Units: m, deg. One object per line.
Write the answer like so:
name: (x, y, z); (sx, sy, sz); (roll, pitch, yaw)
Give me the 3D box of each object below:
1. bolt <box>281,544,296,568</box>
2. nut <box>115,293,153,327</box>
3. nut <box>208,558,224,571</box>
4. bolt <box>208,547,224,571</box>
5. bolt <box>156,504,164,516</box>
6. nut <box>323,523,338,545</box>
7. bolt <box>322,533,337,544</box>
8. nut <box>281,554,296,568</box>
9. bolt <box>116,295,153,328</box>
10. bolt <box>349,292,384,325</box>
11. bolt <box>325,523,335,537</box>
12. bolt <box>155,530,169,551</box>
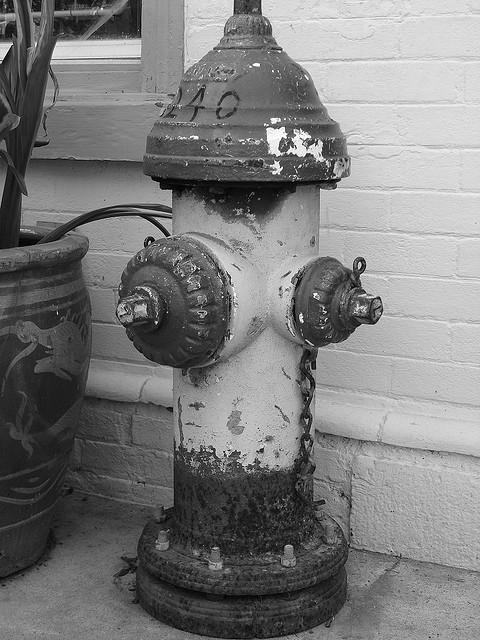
bolt: (0.101, 0.502, 1.622); (0.036, 0.046, 0.038); (2, 5, 3)
nut: (-0.193, -0.021, 1.397); (0.052, 0.065, 0.083); (-4, 11, 10)
nut: (-0.052, 0.508, 1.605); (0.021, 0.021, 0.021); (-1, 1, 36)
bolt: (-0.053, 0.496, 1.612); (0.035, 0.045, 0.039); (1, 0, -25)
bolt: (-0.197, 0.466, 1.899); (0.019, 0.024, 0.020); (-1, 1, 3)
nut: (0.204, 0.489, 1.767); (0.033, 0.041, 0.033); (2, 3, 24)
bolt: (0.205, 0.499, 1.763); (0.019, 0.013, 0.020); (1, -2, -35)
nut: (0.100, 0.508, 1.623); (0.021, 0.015, 0.022); (1, -1, -5)
bolt: (-0.192, -0.020, 1.397); (0.057, 0.052, 0.066); (-9, 29, -22)
bolt: (0.240, -0.024, 1.477); (0.041, 0.061, 0.072); (5, 10, 32)
bolt: (0.205, 0.483, 1.775); (0.021, 0.025, 0.021); (-2, -1, 3)
bolt: (-0.175, 0.492, 1.724); (0.030, 0.041, 0.036); (3, -3, -38)
